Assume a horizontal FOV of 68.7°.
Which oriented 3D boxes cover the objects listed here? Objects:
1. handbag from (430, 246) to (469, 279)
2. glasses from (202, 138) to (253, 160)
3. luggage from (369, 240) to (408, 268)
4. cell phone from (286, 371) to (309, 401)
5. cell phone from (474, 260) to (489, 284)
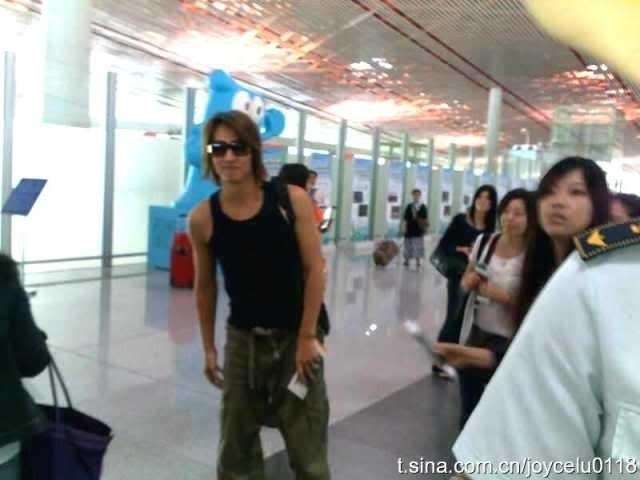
[{"bbox_3d":[0.651,0.107,2.385,0.057,0.149,0.151,-7,33,-44],"label":"handbag"},{"bbox_3d":[-0.363,-0.349,1.801,0.188,0.061,0.059,4,8,28],"label":"glasses"},{"bbox_3d":[1.099,0.241,7.562,0.275,0.246,0.433,30,54,20],"label":"luggage"},{"bbox_3d":[-0.086,0.573,1.826,0.073,0.123,0.047,1,7,0],"label":"cell phone"},{"bbox_3d":[0.739,0.141,2.142,0.029,0.072,0.051,-3,7,-38],"label":"cell phone"}]
